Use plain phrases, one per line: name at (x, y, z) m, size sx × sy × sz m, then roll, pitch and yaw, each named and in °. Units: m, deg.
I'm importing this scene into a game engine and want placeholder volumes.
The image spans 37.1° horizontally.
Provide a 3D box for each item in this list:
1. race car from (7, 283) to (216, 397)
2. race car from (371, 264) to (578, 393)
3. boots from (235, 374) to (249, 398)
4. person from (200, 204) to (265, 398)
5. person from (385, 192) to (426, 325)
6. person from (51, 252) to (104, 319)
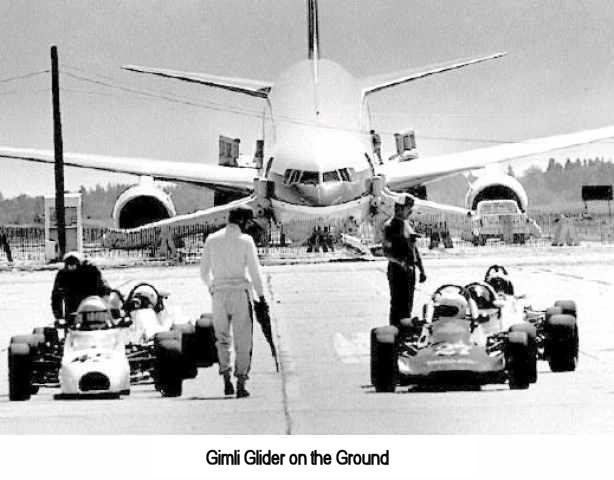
race car at (-2.621, 1.414, 12.330) m, size 1.807 × 1.500 × 2.755 m, roll -1°, pitch 1°, yaw -12°
race car at (2.379, 1.187, 12.628) m, size 2.016 × 1.522 × 3.345 m, roll -3°, pitch 0°, yaw 44°
boots at (-0.841, 1.917, 12.094) m, size 0.209 × 0.239 × 0.146 m, roll -2°, pitch -1°, yaw -24°
person at (-0.964, 0.815, 12.413) m, size 0.746 × 2.456 × 0.709 m, roll 0°, pitch 4°, yaw 15°
person at (1.506, 0.296, 14.516) m, size 0.484 × 2.142 × 0.608 m, roll -3°, pitch 6°, yaw -14°
person at (-3.172, 0.654, 12.637) m, size 0.766 × 1.213 × 0.403 m, roll -12°, pitch 34°, yaw -21°
